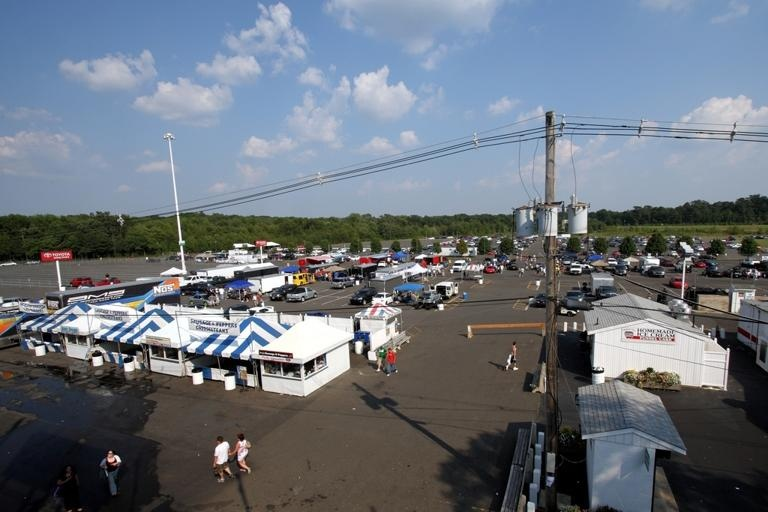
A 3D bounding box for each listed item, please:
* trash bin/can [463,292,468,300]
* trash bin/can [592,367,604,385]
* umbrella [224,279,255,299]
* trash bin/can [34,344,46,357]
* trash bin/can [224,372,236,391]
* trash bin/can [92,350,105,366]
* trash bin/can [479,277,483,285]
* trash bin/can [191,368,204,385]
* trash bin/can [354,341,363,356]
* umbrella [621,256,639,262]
[{"bbox_3d":[8.687,4.193,55.581,0.732,0.711,0.520,-7,-2,-11],"label":"trash bin/can"},{"bbox_3d":[13.033,7.279,31.921,0.670,0.972,1.385,-1,4,19],"label":"trash bin/can"},{"bbox_3d":[-16.194,4.032,59.102,2.576,1.669,2.490,-1,-1,41],"label":"umbrella"},{"bbox_3d":[-26.346,7.208,40.099,0.685,0.843,0.613,-6,5,-33],"label":"trash bin/can"},{"bbox_3d":[-9.796,8.041,33.520,0.885,0.917,0.859,0,4,-8],"label":"trash bin/can"},{"bbox_3d":[-20.796,7.389,37.868,0.996,1.018,0.984,0,4,13],"label":"trash bin/can"},{"bbox_3d":[12.042,3.091,64.715,0.723,1.044,0.708,1,1,3],"label":"trash bin/can"},{"bbox_3d":[-12.180,7.888,34.137,0.902,0.905,0.872,-2,9,-12],"label":"trash bin/can"},{"bbox_3d":[-1.848,6.606,38.186,0.642,0.935,0.721,-2,5,8],"label":"trash bin/can"},{"bbox_3d":[33.390,0.412,70.965,1.321,0.583,1.425,-1,3,-12],"label":"umbrella"}]
